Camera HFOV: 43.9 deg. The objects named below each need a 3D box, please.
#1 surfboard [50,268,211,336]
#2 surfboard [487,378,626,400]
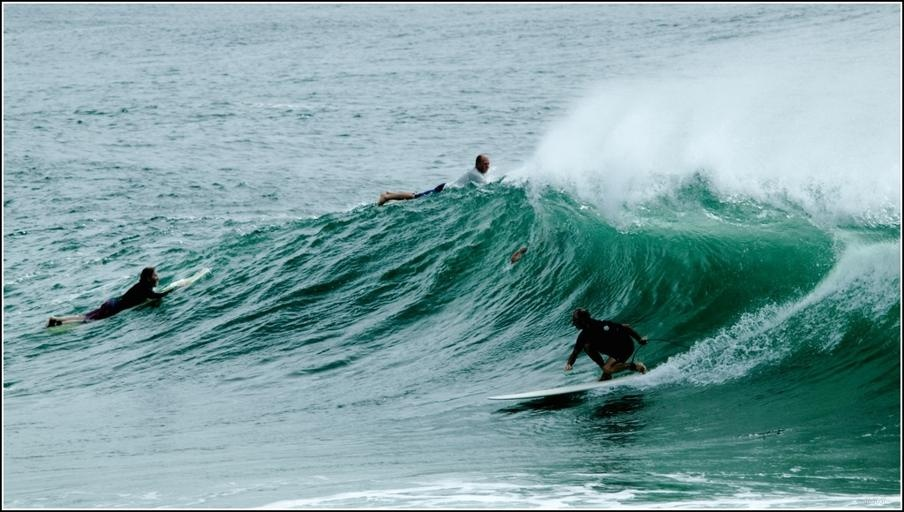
[{"bbox_3d":[-10.229,1.689,35.675,4.968,0.692,1.481,-15,41,-9],"label":"surfboard"},{"bbox_3d":[3.083,3.773,31.368,2.888,0.259,0.167,-7,48,0],"label":"surfboard"}]
